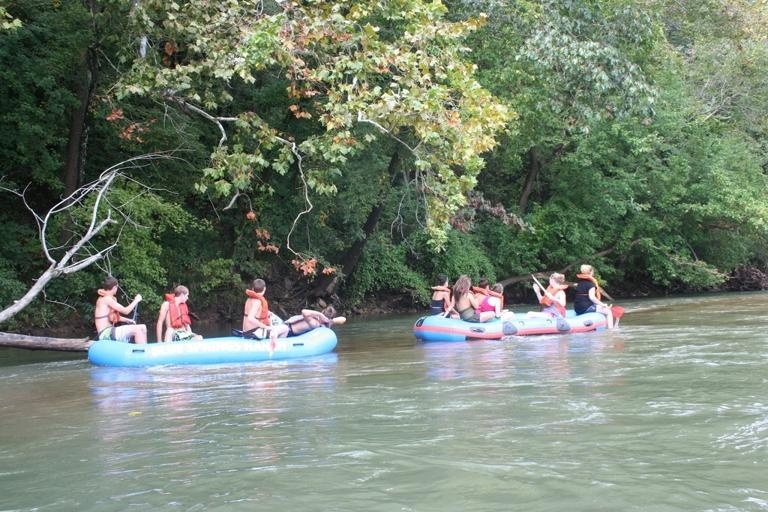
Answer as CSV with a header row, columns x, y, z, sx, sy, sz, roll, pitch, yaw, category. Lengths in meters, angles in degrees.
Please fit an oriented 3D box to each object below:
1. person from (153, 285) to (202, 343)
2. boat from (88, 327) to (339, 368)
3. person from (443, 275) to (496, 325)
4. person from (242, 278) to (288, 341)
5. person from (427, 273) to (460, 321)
x,y,z,sx,sy,sz,roll,pitch,yaw,category
-4.346,1.274,16.543,0.776,1.217,0.904,4,7,24,person
-3.422,1.956,16.274,3.616,0.570,1.622,0,-11,-16,boat
2.018,1.037,19.035,0.960,1.138,0.798,1,-5,-31,person
-2.976,1.305,19.329,1.027,1.538,0.875,-15,24,-37,person
1.630,1.016,19.542,0.855,1.122,0.794,-5,7,-39,person
